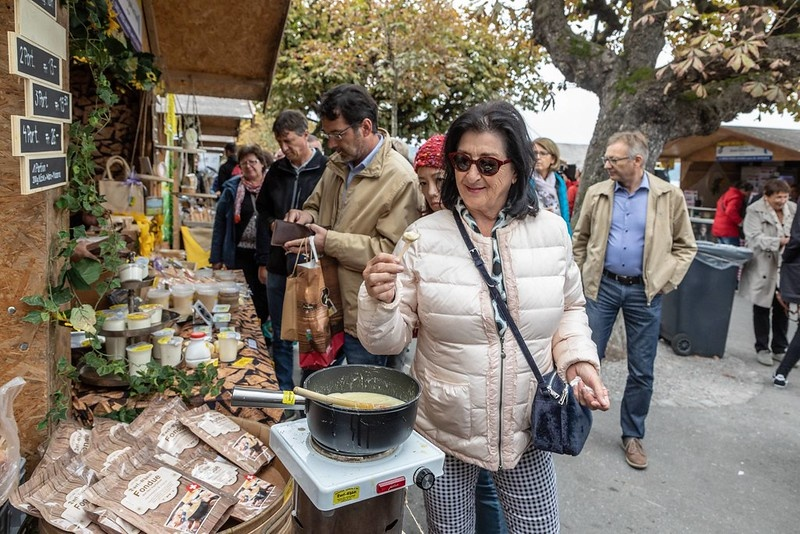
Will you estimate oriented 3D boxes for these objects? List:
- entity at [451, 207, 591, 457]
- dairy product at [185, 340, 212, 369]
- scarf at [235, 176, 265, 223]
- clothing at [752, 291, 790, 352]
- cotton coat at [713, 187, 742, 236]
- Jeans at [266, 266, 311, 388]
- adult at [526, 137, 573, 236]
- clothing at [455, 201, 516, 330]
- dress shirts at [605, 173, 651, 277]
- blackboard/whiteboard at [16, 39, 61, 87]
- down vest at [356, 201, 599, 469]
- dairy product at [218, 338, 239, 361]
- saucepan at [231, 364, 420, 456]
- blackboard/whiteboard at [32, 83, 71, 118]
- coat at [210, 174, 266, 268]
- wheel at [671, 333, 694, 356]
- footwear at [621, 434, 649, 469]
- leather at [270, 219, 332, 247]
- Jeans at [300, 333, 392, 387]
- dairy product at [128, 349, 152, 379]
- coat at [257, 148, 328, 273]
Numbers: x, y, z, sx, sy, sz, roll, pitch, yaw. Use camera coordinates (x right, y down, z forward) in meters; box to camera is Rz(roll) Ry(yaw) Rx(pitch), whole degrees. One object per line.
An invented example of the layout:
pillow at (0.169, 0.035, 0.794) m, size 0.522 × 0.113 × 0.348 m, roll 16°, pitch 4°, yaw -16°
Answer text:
entity at (0.658, 0.425, 2.764) m, size 0.185 × 1.042 × 0.243 m, roll -21°, pitch -10°, yaw 13°
dairy product at (-1.417, 0.590, 3.639) m, size 0.186 × 0.192 × 0.185 m, roll 3°, pitch -5°, yaw -38°
scarf at (-1.850, -0.844, 6.459) m, size 0.431 × 0.585 × 0.201 m, roll 7°, pitch 8°, yaw 15°
clothing at (5.108, 0.768, 7.193) m, size 0.432 × 0.822 × 0.387 m, roll 9°, pitch 15°, yaw 33°
cotton coat at (6.025, -1.009, 9.592) m, size 0.420 × 0.927 × 0.528 m, roll 9°, pitch 15°, yaw 35°
Jeans at (-1.045, 0.732, 5.225) m, size 0.251 × 1.070 × 0.195 m, roll 12°, pitch 14°, yaw 15°
adult at (1.542, -0.681, 5.471) m, size 0.463 × 1.229 × 0.407 m, roll 1°, pitch 12°, yaw 43°
clothing at (0.462, -0.005, 2.693) m, size 0.339 × 0.566 × 0.132 m, roll 0°, pitch -19°, yaw -42°
dress shirts at (2.075, -0.390, 4.747) m, size 0.429 × 0.883 × 0.291 m, roll 8°, pitch 7°, yaw 40°
blackboard/whiteboard at (-1.803, -1.030, 2.632) m, size 0.346 × 0.175 × 0.043 m, roll 25°, pitch 25°, yaw 17°
down vest at (0.445, 0.361, 2.912) m, size 1.420 × 1.294 × 0.684 m, roll -2°, pitch 10°, yaw -14°
dairy product at (-1.248, 0.589, 3.834) m, size 0.157 × 0.157 × 0.138 m, roll -1°, pitch 8°, yaw -15°
saucepan at (-0.266, 0.629, 2.297) m, size 0.664 × 0.244 × 0.420 m, roll -1°, pitch 4°, yaw -24°
blackboard/whiteboard at (-1.806, -0.855, 2.704) m, size 0.303 × 0.160 × 0.011 m, roll 17°, pitch 16°, yaw 21°
coat at (-2.175, -0.589, 6.644) m, size 0.281 × 1.212 × 0.531 m, roll 11°, pitch 3°, yaw -29°
wheel at (3.820, 1.028, 7.036) m, size 0.246 × 0.255 × 0.086 m, roll 13°, pitch 9°, yaw 5°
footwear at (2.121, 1.652, 4.689) m, size 0.210 × 0.198 × 0.247 m, roll 5°, pitch 13°, yaw 18°
leather at (-0.770, -0.272, 3.865) m, size 0.351 × 0.214 × 0.096 m, roll 1°, pitch -15°, yaw -19°
Jeans at (-0.341, 0.537, 3.137) m, size 0.548 × 0.161 × 0.427 m, roll 10°, pitch -42°, yaw -42°
dairy product at (-1.737, 0.612, 3.462) m, size 0.171 × 0.181 × 0.168 m, roll -5°, pitch 10°, yaw -42°
coat at (-1.020, -0.546, 5.261) m, size 0.787 × 1.116 × 0.549 m, roll 2°, pitch 10°, yaw 0°
